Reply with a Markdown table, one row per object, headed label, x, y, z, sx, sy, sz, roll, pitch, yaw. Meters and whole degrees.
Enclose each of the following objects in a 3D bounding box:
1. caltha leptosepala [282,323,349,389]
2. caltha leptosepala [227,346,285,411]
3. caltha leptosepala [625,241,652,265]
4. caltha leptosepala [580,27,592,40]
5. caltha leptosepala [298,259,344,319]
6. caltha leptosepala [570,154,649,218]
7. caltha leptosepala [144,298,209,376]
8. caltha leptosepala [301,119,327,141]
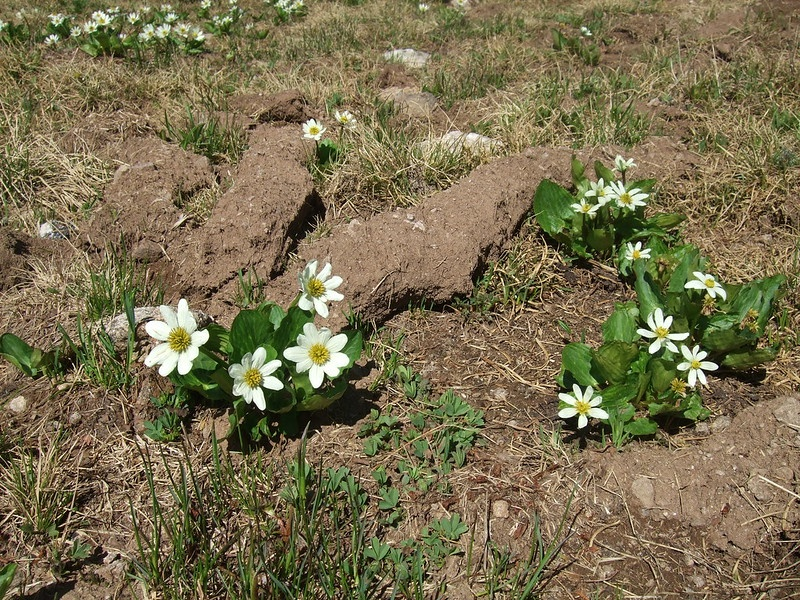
| label | x | y | z | sx | sy | sz | roll | pitch | yaw |
| --- | --- | --- | --- | --- | --- | --- | --- | --- | --- |
| caltha leptosepala | -0.453 | 0.301 | 4.077 | 0.341 | 0.284 | 0.193 | -10 | 31 | -10 |
| caltha leptosepala | -0.769 | 0.424 | 4.029 | 0.269 | 0.321 | 0.278 | -13 | 32 | -15 |
| caltha leptosepala | 1.568 | -0.312 | 5.005 | 0.125 | 0.060 | 0.151 | -15 | 50 | 17 |
| caltha leptosepala | 1.888 | -2.710 | 7.668 | 0.103 | 0.126 | 0.062 | 17 | 37 | 4 |
| caltha leptosepala | -0.458 | -0.061 | 4.228 | 0.248 | 0.366 | 0.238 | -16 | 32 | -20 |
| caltha leptosepala | 1.411 | -0.746 | 5.105 | 0.472 | 0.204 | 0.440 | -36 | 50 | -27 |
| caltha leptosepala | -1.150 | 0.192 | 3.958 | 0.321 | 0.139 | 0.331 | -25 | 50 | -33 |
| caltha leptosepala | -0.651 | -1.322 | 5.728 | 0.158 | 0.214 | 0.067 | -4 | -3 | 14 |
